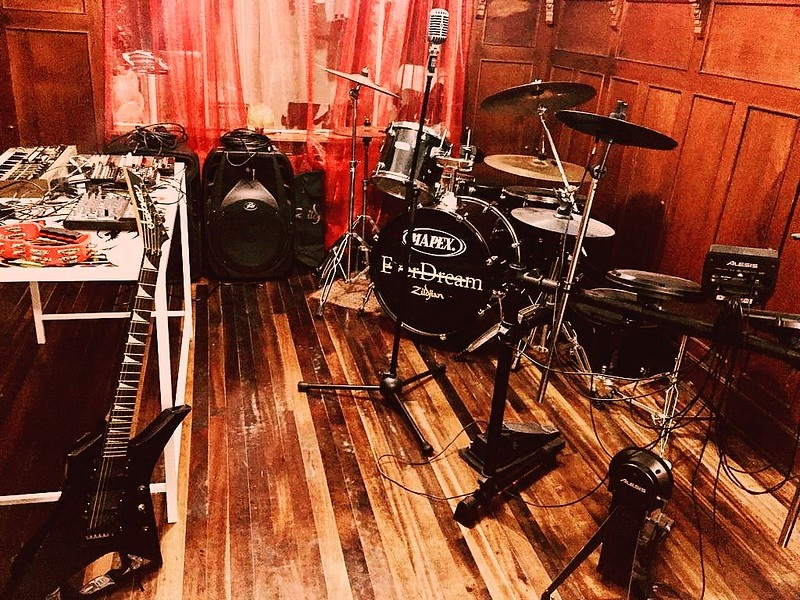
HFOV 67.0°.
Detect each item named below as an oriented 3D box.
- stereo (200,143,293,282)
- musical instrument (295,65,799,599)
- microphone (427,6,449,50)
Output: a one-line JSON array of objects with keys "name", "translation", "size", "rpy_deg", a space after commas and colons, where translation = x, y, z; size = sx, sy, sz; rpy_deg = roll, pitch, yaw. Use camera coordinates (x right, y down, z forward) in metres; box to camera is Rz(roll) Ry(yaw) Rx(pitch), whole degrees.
[{"name": "stereo", "translation": [-1.073, -0.628, 4.170], "size": [0.769, 1.142, 0.574], "rpy_deg": [-1, 22, -12]}, {"name": "musical instrument", "translation": [0.367, 0.184, 3.048], "size": [2.153, 2.187, 1.620], "rpy_deg": [7, 61, -9]}, {"name": "microphone", "translation": [0.155, -1.097, 2.433], "size": [0.078, 0.141, 0.184], "rpy_deg": [5, 21, 0]}]
